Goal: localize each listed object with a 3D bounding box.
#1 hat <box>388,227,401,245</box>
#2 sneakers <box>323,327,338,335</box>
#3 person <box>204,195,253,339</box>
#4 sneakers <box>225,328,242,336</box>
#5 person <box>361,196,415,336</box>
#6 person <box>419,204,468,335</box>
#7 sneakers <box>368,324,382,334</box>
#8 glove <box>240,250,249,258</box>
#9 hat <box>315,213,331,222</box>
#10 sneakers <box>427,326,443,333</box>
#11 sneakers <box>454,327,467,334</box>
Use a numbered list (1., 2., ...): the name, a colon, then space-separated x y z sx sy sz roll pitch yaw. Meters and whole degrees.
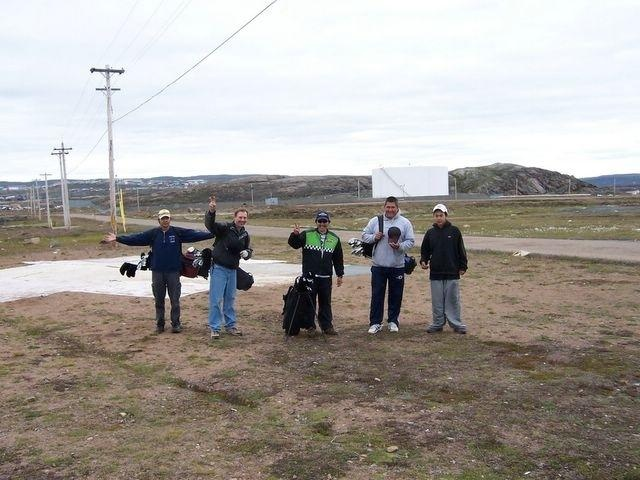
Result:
1. hat: 1.354 -0.081 9.284 0.261 0.300 0.202 -2 9 -7
2. sneakers: 0.193 1.727 9.649 0.331 0.193 0.102 -6 8 -1
3. person: -1.677 0.511 9.410 0.804 2.600 0.623 -3 10 -16
4. sneakers: -1.624 1.739 9.729 0.316 0.131 0.128 1 4 20
5. person: 1.247 0.483 9.584 0.933 2.567 0.600 1 10 7
6. person: 2.337 0.569 9.648 0.888 2.462 0.890 1 10 11
7. sneakers: 1.040 1.675 9.679 0.118 0.114 0.323 -2 -4 32
8. glove: -1.377 0.248 9.301 0.078 0.069 0.122 30 -12 3
9. hat: 0.044 -0.424 9.315 0.260 0.162 0.387 3 -6 -1
10. sneakers: 2.154 1.699 9.731 0.336 0.122 0.105 5 -5 -12
11. sneakers: 2.612 1.701 9.557 0.095 0.089 0.233 4 -9 -27
